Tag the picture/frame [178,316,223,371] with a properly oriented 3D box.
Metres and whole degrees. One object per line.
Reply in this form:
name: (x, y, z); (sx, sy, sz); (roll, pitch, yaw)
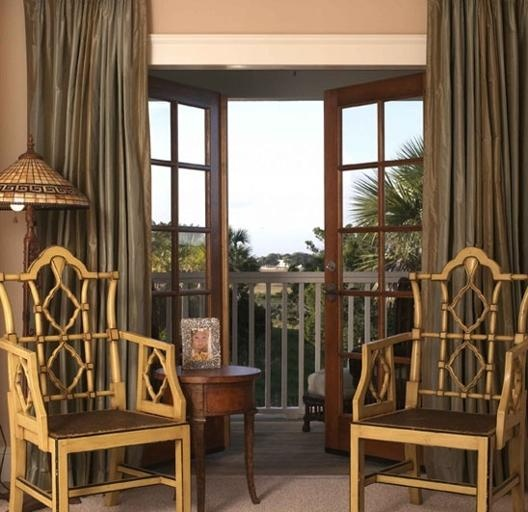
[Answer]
picture/frame: (-0.300, 0.409, 3.138); (0.239, 0.359, 0.025); (0, -13, -8)
